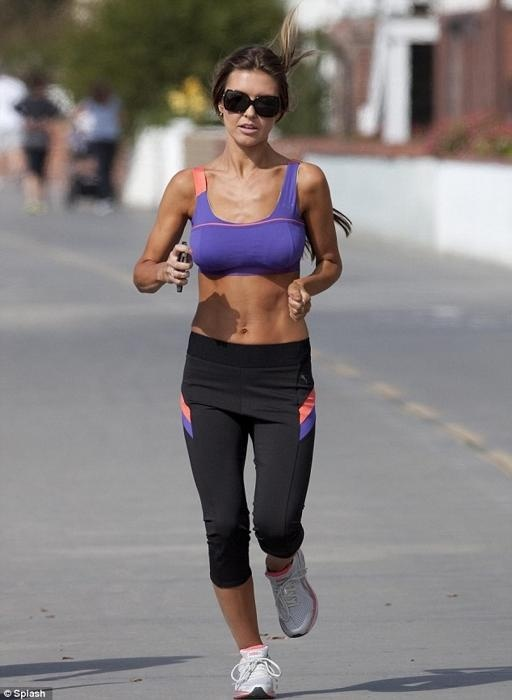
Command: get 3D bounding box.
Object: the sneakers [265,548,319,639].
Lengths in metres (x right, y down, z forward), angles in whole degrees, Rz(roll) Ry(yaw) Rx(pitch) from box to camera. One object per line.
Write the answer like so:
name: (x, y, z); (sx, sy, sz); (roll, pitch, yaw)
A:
sneakers: (0.112, 0.665, 2.583); (0.122, 0.247, 0.122); (-28, -32, 20)

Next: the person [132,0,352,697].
person: (-0.059, 0.024, 2.477); (0.550, 1.739, 0.667); (0, 7, 4)
